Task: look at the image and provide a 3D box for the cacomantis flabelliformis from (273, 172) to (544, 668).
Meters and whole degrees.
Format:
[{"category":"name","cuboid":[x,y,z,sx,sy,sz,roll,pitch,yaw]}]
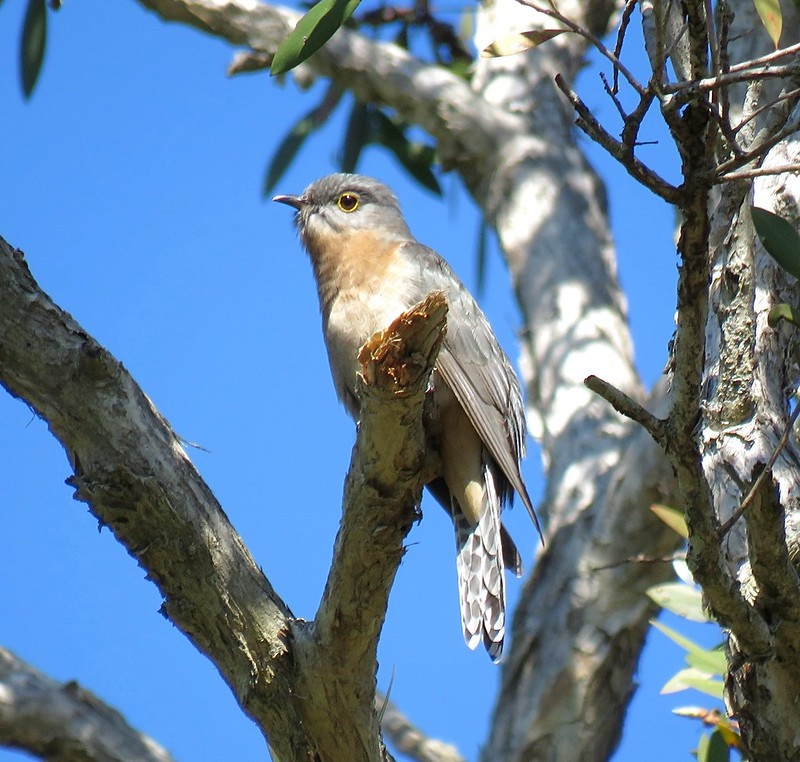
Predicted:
[{"category":"cacomantis flabelliformis","cuboid":[0.064,0.153,7.137,1.157,2.292,0.619,9,-29,0]}]
